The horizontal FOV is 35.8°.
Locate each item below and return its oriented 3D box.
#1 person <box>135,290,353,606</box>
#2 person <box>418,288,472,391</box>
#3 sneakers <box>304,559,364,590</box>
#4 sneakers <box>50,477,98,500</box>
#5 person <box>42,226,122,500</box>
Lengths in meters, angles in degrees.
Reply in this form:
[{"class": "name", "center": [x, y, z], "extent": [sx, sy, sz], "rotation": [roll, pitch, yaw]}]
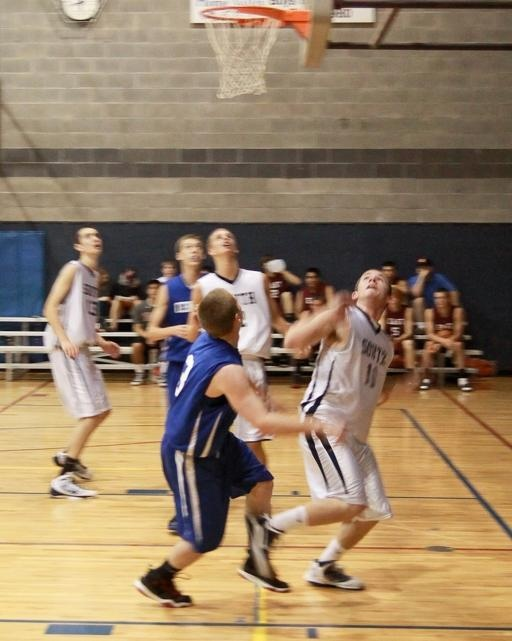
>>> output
[{"class": "person", "center": [-0.109, 0.543, 3.159], "extent": [0.656, 1.334, 0.683], "rotation": [-2, 7, -24]}, {"class": "person", "center": [2.168, 0.219, 9.033], "extent": [0.579, 1.144, 0.611], "rotation": [2, 6, 13]}, {"class": "sneakers", "center": [0.340, 1.141, 3.571], "extent": [0.306, 0.111, 0.104], "rotation": [7, -11, -1]}, {"class": "sneakers", "center": [-1.061, 1.000, 4.742], "extent": [0.338, 0.120, 0.107], "rotation": [3, -3, -4]}, {"class": "person", "center": [-1.084, 0.238, 4.887], "extent": [0.451, 1.612, 0.551], "rotation": [-1, 7, -10]}]
